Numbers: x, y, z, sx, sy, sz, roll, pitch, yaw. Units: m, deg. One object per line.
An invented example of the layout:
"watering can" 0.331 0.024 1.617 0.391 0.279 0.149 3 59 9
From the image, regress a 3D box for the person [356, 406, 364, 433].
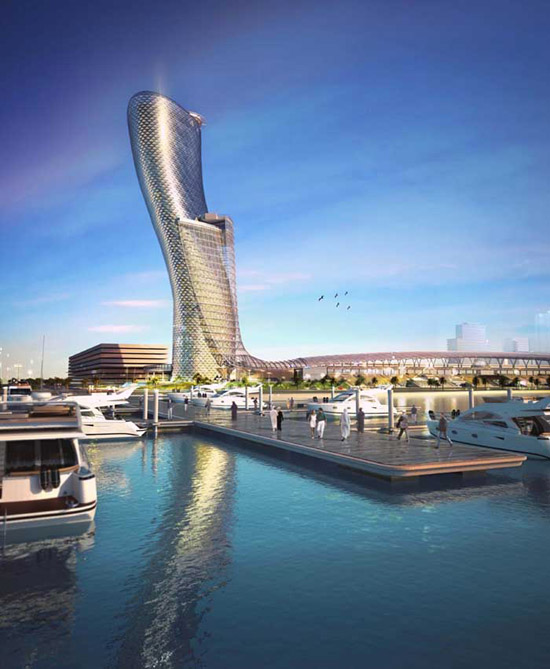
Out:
"person" 4.346 4.386 27.270 0.260 1.282 0.971 -1 -3 12
